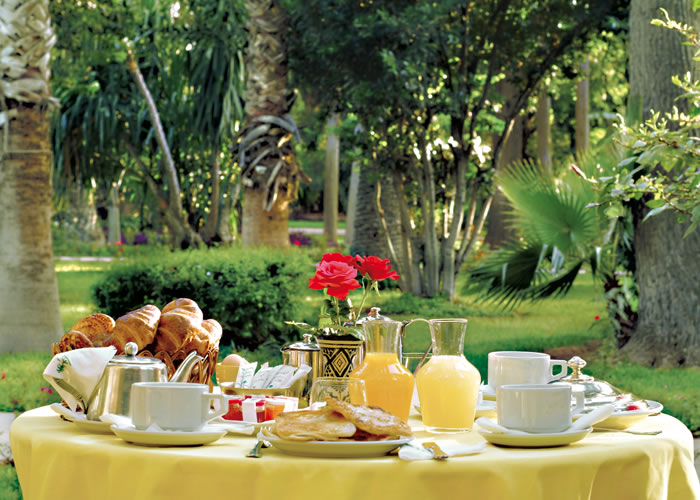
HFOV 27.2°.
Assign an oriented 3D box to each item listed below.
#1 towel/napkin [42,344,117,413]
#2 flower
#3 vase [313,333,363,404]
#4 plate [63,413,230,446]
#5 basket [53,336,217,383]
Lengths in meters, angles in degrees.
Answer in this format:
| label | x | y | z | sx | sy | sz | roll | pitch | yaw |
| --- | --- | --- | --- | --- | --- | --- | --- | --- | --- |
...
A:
| label | x | y | z | sx | sy | sz | roll | pitch | yaw |
| --- | --- | --- | --- | --- | --- | --- | --- | --- | --- |
| towel/napkin | -2.359 | 1.118 | 12.607 | 0.388 | 0.603 | 0.519 | 6 | -10 | -35 |
| flower | 0.006 | 0.380 | 13.167 | 0.713 | 0.845 | 0.703 | -18 | 35 | -32 |
| vase | -0.069 | 1.225 | 12.966 | 0.434 | 0.837 | 0.523 | 5 | -4 | -4 |
| plate | -1.750 | 1.590 | 12.487 | 1.169 | 0.245 | 1.037 | 3 | -14 | -45 |
| basket | -1.778 | 0.952 | 12.928 | 0.953 | 0.500 | 1.137 | -2 | -7 | 26 |
